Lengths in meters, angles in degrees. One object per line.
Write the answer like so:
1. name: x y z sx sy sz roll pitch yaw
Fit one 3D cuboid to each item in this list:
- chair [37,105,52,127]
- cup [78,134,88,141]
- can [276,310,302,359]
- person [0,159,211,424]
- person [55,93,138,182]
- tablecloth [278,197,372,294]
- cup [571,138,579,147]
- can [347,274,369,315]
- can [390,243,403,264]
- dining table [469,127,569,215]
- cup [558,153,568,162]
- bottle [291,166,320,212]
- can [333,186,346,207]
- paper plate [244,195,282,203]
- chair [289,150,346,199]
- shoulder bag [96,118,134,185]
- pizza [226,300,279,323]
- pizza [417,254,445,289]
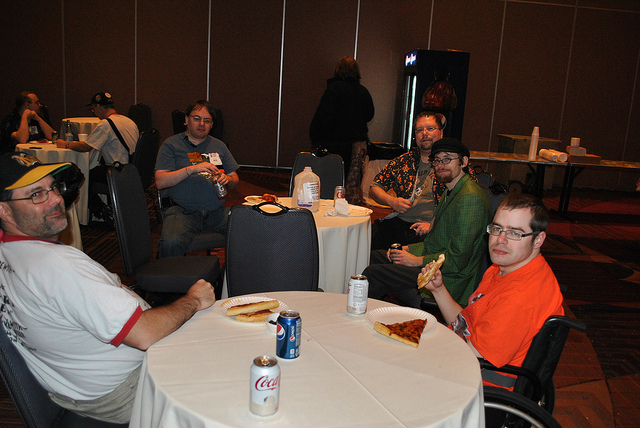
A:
1. chair: -4.775 -1.716 7.256 0.105 0.459 0.130 -15 54 -19
2. cup: -3.203 -1.040 5.605 0.093 0.072 0.095 0 2 0
3. can: -0.140 0.520 1.834 0.113 0.198 0.114 3 14 -1
4. person: -1.185 0.234 2.617 1.059 1.671 0.988 4 12 5
5. person: -3.181 -0.992 5.898 1.075 1.389 0.909 -8 35 -36
6. tablecloth: 0.144 0.290 3.810 0.729 0.659 0.744 0 19 5
7. cup: 4.140 -1.167 6.773 0.144 0.146 0.148 -1 7 0
8. can: 0.196 0.422 2.193 0.110 0.196 0.111 3 10 -1
9. can: 0.595 0.306 3.246 0.121 0.209 0.132 -1 9 0
10. dining table: 3.233 -0.773 6.622 1.753 1.446 0.742 6 32 13
11. cup: 3.804 -0.893 6.499 0.192 0.124 0.066 -7 17 -27
12. bottle: -0.134 -0.227 3.762 0.263 0.389 0.306 -1 15 -5
13. can: 0.172 -0.183 3.971 0.124 0.234 0.134 0 8 0
14. paper plate: -0.535 -0.143 3.880 0.194 0.029 0.193 -6 13 -28
15. chair: -0.038 -0.498 4.891 0.534 0.807 0.540 1 14 -2
16. shoulder bag: -2.812 -0.849 5.715 0.449 1.018 0.471 -1 16 -11
17. pizza: -0.337 0.473 2.054 0.123 0.038 0.126 6 17 4
18. pizza: 0.616 0.309 2.309 0.150 0.163 0.069 -4 15 -14
